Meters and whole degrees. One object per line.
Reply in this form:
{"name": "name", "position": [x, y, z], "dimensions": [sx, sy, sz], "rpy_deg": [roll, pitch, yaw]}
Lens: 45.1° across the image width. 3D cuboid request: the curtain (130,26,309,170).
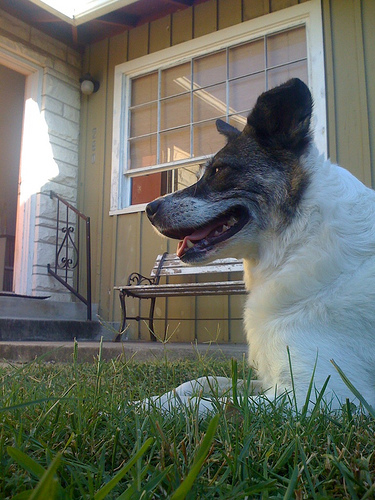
{"name": "curtain", "position": [0.327, -1.843, 5.256], "dimensions": [2.479, 1.741, 0.057], "rpy_deg": [-6, -13, 29]}
